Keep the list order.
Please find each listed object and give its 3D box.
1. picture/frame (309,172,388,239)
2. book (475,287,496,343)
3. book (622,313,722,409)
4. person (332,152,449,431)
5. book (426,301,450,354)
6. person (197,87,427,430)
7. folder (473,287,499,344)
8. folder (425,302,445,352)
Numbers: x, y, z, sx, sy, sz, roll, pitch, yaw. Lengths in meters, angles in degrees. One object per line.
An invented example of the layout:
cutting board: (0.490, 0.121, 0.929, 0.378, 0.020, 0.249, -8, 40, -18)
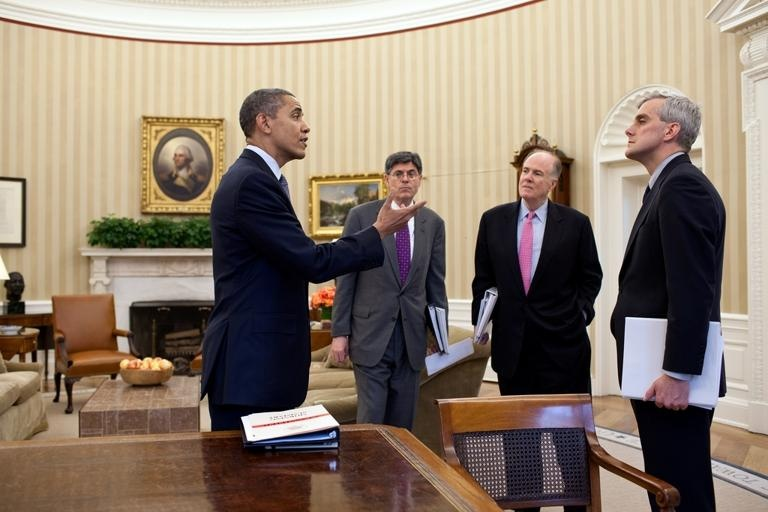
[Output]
picture/frame: (-0.489, -0.632, 8.296, 0.899, 0.943, 0.077, 0, -4, 0)
book: (0.681, 0.419, 4.868, 0.068, 0.309, 0.282, 13, 17, 0)
book: (1.663, 0.614, 3.979, 0.561, 0.534, 0.251, 0, 4, 23)
person: (0.052, 0.549, 5.101, 0.806, 2.736, 0.770, -2, 23, -14)
book: (0.380, 0.525, 4.970, 0.065, 0.310, 0.206, -7, 19, -9)
person: (-0.621, 0.000, 4.042, 1.011, 1.984, 0.424, -2, 4, -12)
folder: (0.689, 0.422, 4.875, 0.077, 0.320, 0.286, 12, 11, 6)
folder: (0.356, 0.520, 4.966, 0.051, 0.264, 0.231, -14, 13, -19)
